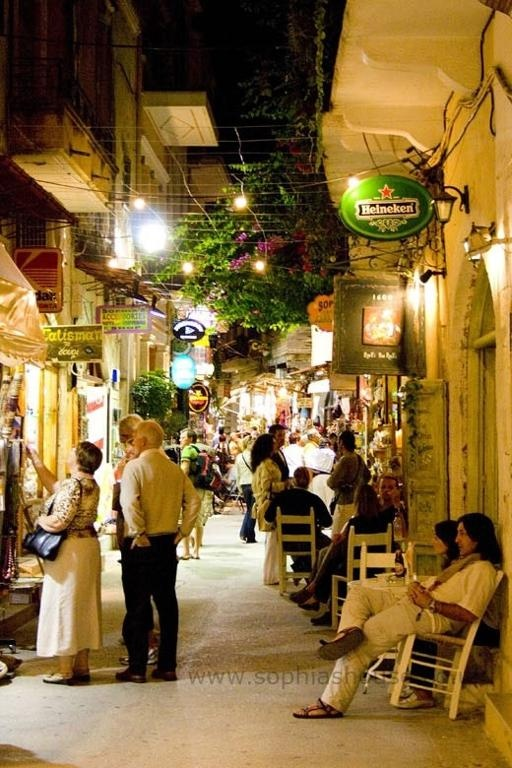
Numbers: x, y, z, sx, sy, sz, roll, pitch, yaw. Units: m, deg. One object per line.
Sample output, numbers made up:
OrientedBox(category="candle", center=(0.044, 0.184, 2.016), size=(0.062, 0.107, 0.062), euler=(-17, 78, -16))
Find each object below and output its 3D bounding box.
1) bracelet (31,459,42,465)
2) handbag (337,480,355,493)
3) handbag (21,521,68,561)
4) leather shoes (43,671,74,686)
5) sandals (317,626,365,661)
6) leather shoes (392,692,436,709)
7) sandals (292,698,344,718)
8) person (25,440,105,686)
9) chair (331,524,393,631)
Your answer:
OrientedBox(category="bracelet", center=(-1.694, 0.594, 5.734), size=(0.052, 0.037, 0.051), euler=(2, -4, -6))
OrientedBox(category="handbag", center=(1.247, 1.405, 10.243), size=(0.167, 0.158, 0.043), euler=(11, 18, 5))
OrientedBox(category="handbag", center=(-1.467, 1.114, 5.299), size=(0.257, 0.252, 0.108), euler=(21, -7, 13))
OrientedBox(category="leather shoes", center=(-1.388, 2.054, 5.251), size=(0.243, 0.095, 0.088), euler=(6, -14, 12))
OrientedBox(category="sandals", center=(0.482, 1.470, 4.221), size=(0.178, 0.152, 0.262), euler=(0, -3, 31))
OrientedBox(category="leather shoes", center=(1.021, 2.023, 4.751), size=(0.311, 0.123, 0.100), euler=(2, -11, -3))
OrientedBox(category="sandals", center=(0.364, 1.895, 4.361), size=(0.304, 0.113, 0.105), euler=(4, -8, -2))
OrientedBox(category="person", center=(-1.379, 1.302, 5.426), size=(0.509, 1.754, 0.663), euler=(2, -2, -13))
OrientedBox(category="chair", center=(0.962, 1.601, 6.864), size=(0.479, 0.849, 0.506), euler=(-5, -29, 19))
